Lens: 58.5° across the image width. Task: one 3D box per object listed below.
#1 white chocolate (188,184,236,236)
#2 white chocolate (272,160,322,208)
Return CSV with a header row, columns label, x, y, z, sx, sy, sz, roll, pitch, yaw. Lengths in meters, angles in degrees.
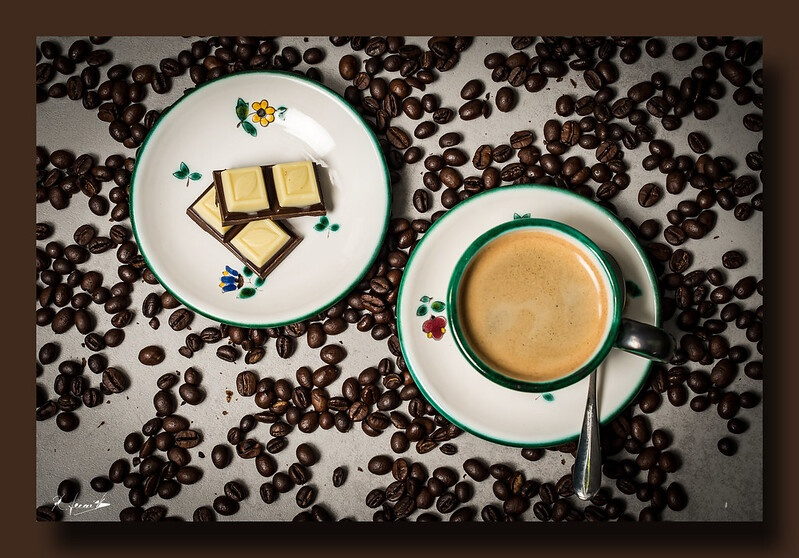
label,x,y,z,sx,sy,sz,roll,pitch,yaw
white chocolate,-0.495,-0.184,1.887,0.124,0.035,0.131,-42,-96,7
white chocolate,-0.272,-0.247,1.865,0.112,0.040,0.122,-7,-92,-5
